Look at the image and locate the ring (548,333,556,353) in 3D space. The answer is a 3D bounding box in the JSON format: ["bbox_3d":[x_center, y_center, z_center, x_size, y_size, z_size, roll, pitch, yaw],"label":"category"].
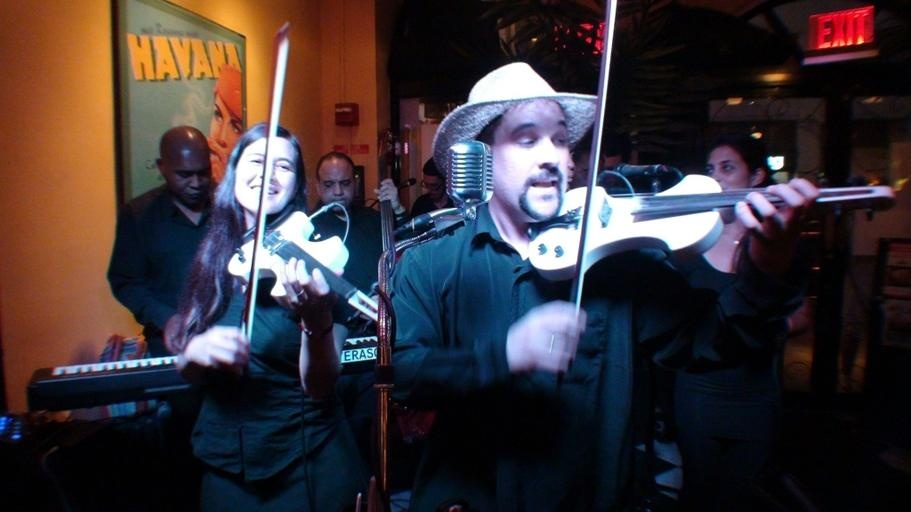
[{"bbox_3d":[0.512,0.471,3.673,0.039,0.094,0.025,1,9,27],"label":"ring"}]

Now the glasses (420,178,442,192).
[{"bbox_3d":[-0.231,-0.666,6.387,0.192,0.183,0.060,8,26,14],"label":"glasses"}]

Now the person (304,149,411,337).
[{"bbox_3d":[-0.755,-0.143,5.293,0.727,1.374,0.380,2,-18,-21],"label":"person"}]

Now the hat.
[{"bbox_3d":[0.250,-0.857,3.882,0.752,0.295,0.834,-5,-16,-23],"label":"hat"}]
